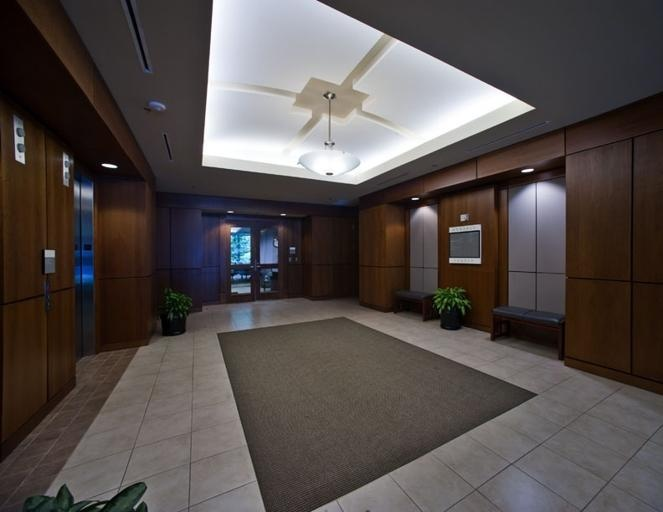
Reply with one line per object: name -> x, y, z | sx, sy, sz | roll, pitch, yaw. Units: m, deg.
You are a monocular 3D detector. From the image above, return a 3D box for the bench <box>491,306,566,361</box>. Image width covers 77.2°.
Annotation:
bench -> 3.066, 1.115, 6.398 | 0.469, 0.562, 1.090 | -6, 6, -34

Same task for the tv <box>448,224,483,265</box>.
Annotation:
tv -> 2.455, -0.228, 7.531 | 0.048, 0.745, 0.688 | 3, -4, -33

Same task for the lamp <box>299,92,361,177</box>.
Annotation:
lamp -> -0.097, -1.777, 6.544 | 0.907, 1.209, 0.935 | 2, -5, -12

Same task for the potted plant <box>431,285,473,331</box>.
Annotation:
potted plant -> 2.160, 0.957, 7.713 | 0.653, 0.729, 0.688 | 1, -6, -4

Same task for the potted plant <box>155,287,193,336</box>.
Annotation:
potted plant -> -2.780, 0.971, 7.319 | 0.388, 0.760, 0.462 | 2, 4, 26
